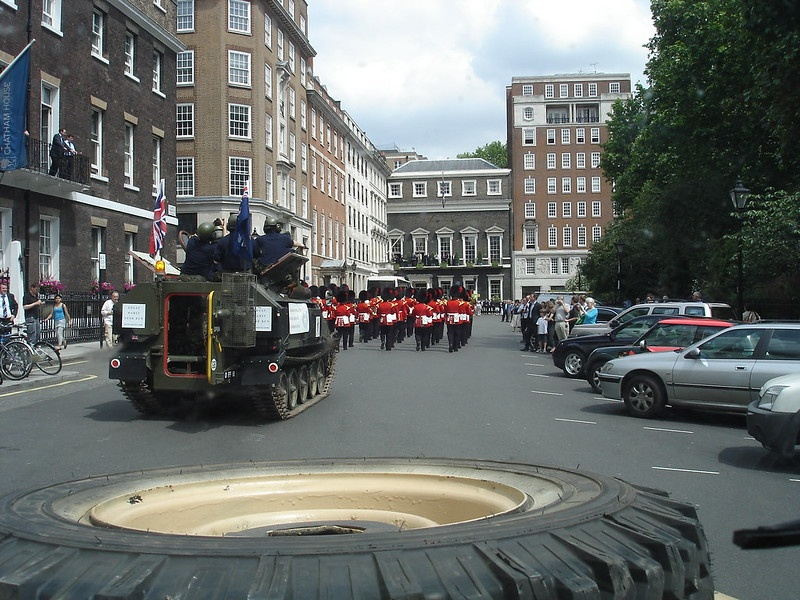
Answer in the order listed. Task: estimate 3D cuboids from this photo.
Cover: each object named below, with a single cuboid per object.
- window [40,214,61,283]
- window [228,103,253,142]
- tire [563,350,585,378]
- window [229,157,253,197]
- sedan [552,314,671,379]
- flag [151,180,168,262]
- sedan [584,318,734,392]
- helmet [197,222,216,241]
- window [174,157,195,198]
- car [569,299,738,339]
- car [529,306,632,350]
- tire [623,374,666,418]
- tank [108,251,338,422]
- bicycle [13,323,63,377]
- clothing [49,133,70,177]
[{"bbox_3d":[-10.795,-1.594,27.266,0.390,1.949,0.890,-1,-2,-1],"label":"window"},{"bbox_3d":[-8.444,-9.262,46.525,0.247,2.422,2.045,-3,-1,38],"label":"window"},{"bbox_3d":[3.895,1.428,19.731,0.204,0.596,0.563,5,-6,-38],"label":"tire"},{"bbox_3d":[-8.425,-6.467,46.495,1.269,1.833,0.126,9,23,7],"label":"window"},{"bbox_3d":[4.279,0.980,19.042,1.988,0.948,0.957,2,-1,27],"label":"sedan"},{"bbox_3d":[-7.818,-2.636,28.909,0.468,2.925,0.345,2,36,-17],"label":"flag"},{"bbox_3d":[4.438,0.877,15.971,2.155,1.092,1.343,0,-2,26],"label":"sedan"},{"bbox_3d":[-2.920,-1.028,13.280,0.256,0.287,0.261,11,11,5],"label":"helmet"},{"bbox_3d":[-11.151,-6.389,46.292,0.916,2.138,0.420,-1,-2,-4],"label":"window"},{"bbox_3d":[6.223,0.306,20.888,2.521,0.940,1.674,0,0,18],"label":"car"},{"bbox_3d":[5.844,0.758,27.853,2.691,1.476,1.523,0,-1,-1],"label":"car"},{"bbox_3d":[3.828,1.511,13.866,0.225,0.673,0.635,-4,1,-44],"label":"tire"},{"bbox_3d":[-2.458,0.526,13.860,1.955,1.950,3.687,0,2,11],"label":"tank"},{"bbox_3d":[-7.505,1.165,18.459,0.640,0.840,1.331,0,3,33],"label":"bicycle"},{"bbox_3d":[-10.242,-4.412,26.517,0.496,1.467,0.439,19,21,-4],"label":"clothing"}]
